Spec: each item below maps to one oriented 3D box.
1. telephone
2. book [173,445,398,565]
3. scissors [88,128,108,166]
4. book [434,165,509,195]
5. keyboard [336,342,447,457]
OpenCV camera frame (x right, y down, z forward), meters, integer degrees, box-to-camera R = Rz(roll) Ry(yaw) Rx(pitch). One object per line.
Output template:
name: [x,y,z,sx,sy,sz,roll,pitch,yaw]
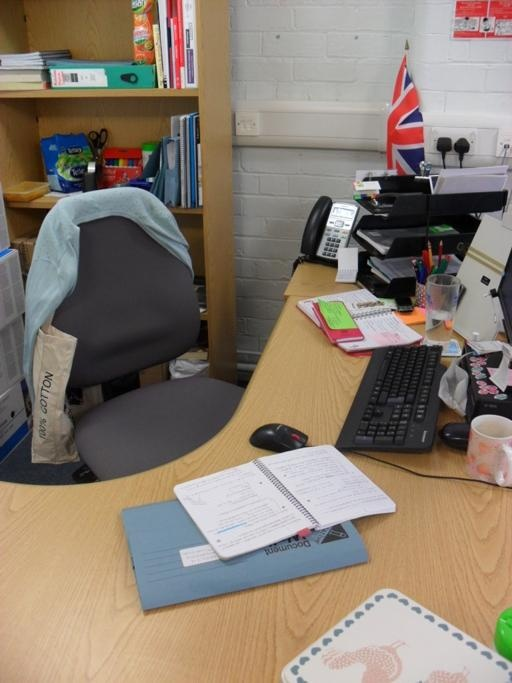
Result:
telephone: [0.270,-0.408,1.834,0.179,0.269,0.087,16,-1,28]
book: [0.037,0.238,0.751,0.180,0.031,0.145,-15,31,-18]
scissors: [-0.709,-0.893,2.279,0.090,0.176,0.030,-1,-7,-11]
book: [0.642,-0.477,1.492,0.242,0.068,0.040,-8,27,-15]
keyboard: [0.297,0.104,1.071,0.160,0.391,0.040,-6,53,2]
